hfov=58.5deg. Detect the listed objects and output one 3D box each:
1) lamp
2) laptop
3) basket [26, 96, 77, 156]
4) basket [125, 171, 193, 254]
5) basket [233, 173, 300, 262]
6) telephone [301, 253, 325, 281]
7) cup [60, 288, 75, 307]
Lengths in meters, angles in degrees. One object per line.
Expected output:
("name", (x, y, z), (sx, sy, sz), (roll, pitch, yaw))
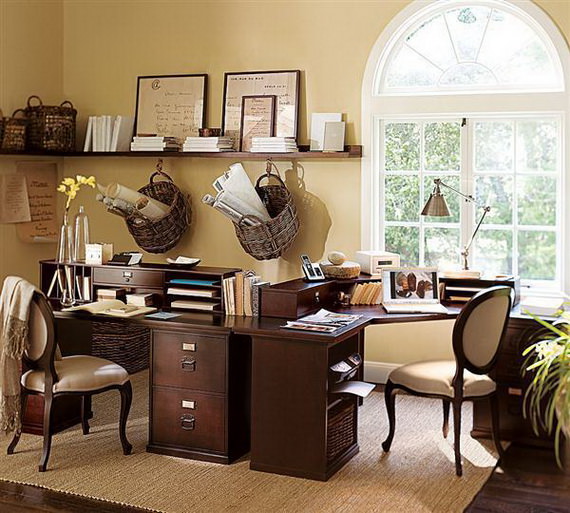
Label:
("lamp", (1.227, -0.234, 3.637), (0.428, 0.659, 0.712), (3, 8, 22))
("laptop", (0.740, 0.188, 2.969), (0.367, 0.240, 0.291), (-1, 3, 13))
("basket", (-2.062, -1.183, 4.524), (0.418, 0.491, 0.405), (0, 14, -40))
("basket", (-1.026, -0.358, 4.209), (0.424, 0.728, 0.811), (0, 7, 1))
("basket", (-0.130, -0.314, 3.939), (0.429, 0.661, 0.693), (1, 7, 8))
("telephone", (0.153, 0.081, 3.184), (0.046, 0.135, 0.196), (-29, -25, 36))
("cup", (-1.402, 0.263, 3.277), (0.118, 0.129, 0.132), (1, -2, -2))
